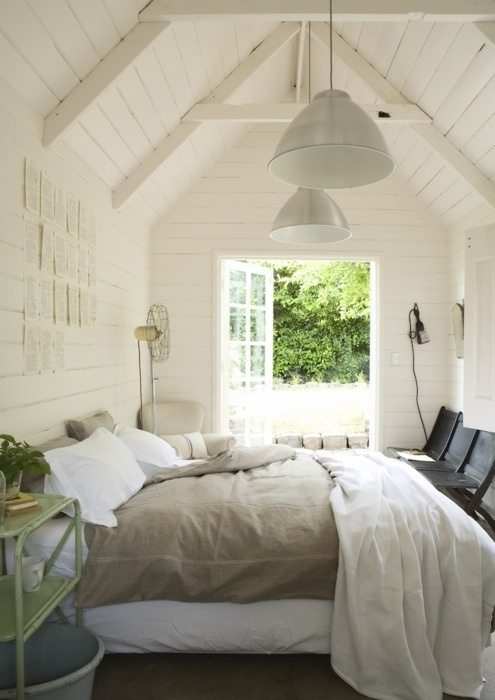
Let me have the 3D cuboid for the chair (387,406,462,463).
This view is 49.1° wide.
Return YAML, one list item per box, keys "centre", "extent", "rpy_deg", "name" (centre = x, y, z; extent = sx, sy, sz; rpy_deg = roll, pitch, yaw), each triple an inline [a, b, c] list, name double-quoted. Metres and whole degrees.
- centre: [1.488, 0.682, 4.525]
  extent: [0.447, 0.419, 0.425]
  rpy_deg: [1, -1, -2]
  name: "chair"

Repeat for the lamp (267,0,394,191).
- centre: [0.275, -0.818, 1.729]
  extent: [0.407, 0.558, 0.426]
  rpy_deg: [3, 9, 31]
  name: "lamp"

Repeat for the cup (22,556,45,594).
- centre: [-0.705, 0.738, 1.773]
  extent: [0.061, 0.072, 0.094]
  rpy_deg: [1, -1, -24]
  name: "cup"

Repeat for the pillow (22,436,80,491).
- centre: [-0.830, 0.460, 2.182]
  extent: [0.051, 0.178, 0.179]
  rpy_deg: [3, 1, 15]
  name: "pillow"

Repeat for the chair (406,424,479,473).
- centre: [1.476, 0.740, 4.196]
  extent: [0.392, 0.590, 0.302]
  rpy_deg: [-1, 5, -4]
  name: "chair"
